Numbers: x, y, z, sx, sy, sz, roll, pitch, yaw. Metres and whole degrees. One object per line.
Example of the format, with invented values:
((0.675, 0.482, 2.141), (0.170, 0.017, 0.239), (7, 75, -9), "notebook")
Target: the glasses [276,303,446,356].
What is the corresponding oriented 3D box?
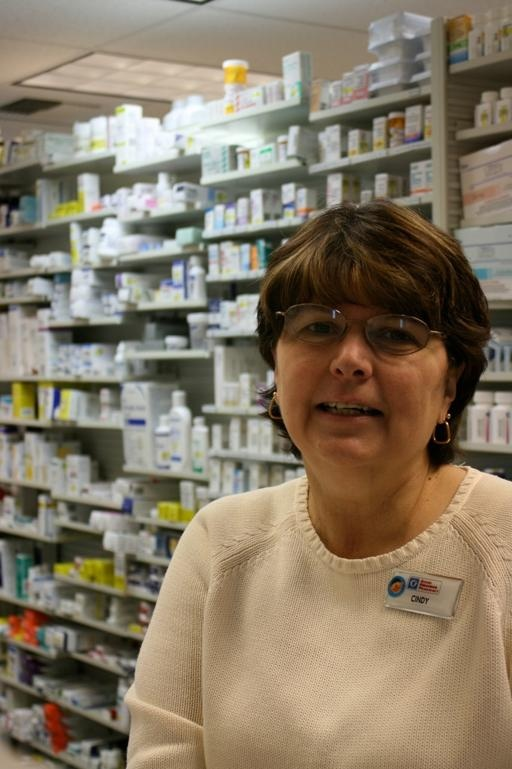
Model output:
((0.086, -0.055, 0.718), (0.179, 0.055, 0.082), (1, 6, 36), "glasses")
